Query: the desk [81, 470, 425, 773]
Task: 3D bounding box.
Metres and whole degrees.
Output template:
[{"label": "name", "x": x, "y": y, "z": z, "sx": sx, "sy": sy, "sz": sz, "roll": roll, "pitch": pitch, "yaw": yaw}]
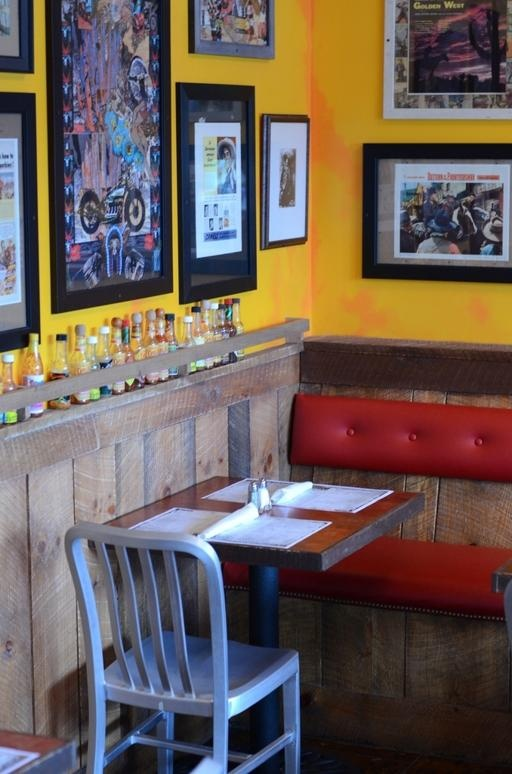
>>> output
[{"label": "desk", "x": 0.036, "y": 0.659, "z": 2.303, "sx": 0.759, "sy": 0.859, "sz": 0.795, "roll": 6, "pitch": 15, "yaw": 34}]
